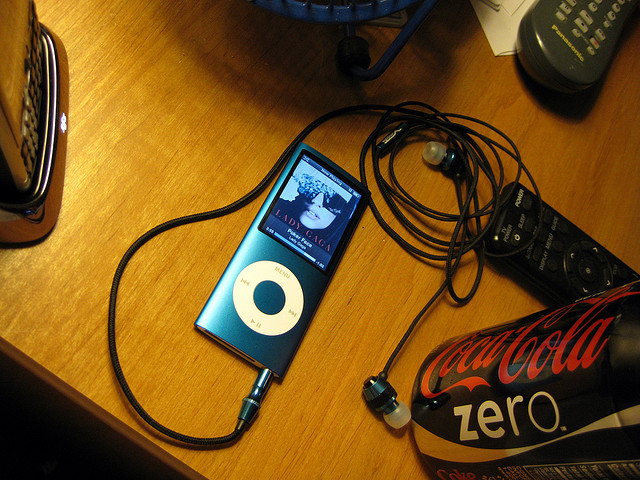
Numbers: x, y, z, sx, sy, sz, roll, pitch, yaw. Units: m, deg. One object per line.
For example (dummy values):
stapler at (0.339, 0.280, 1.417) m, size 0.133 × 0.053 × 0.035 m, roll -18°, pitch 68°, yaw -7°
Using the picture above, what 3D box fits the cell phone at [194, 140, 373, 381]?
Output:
cell phone at (-0.037, 0.016, 0.738) m, size 0.123 × 0.295 × 0.101 m, roll 25°, pitch -1°, yaw 3°
